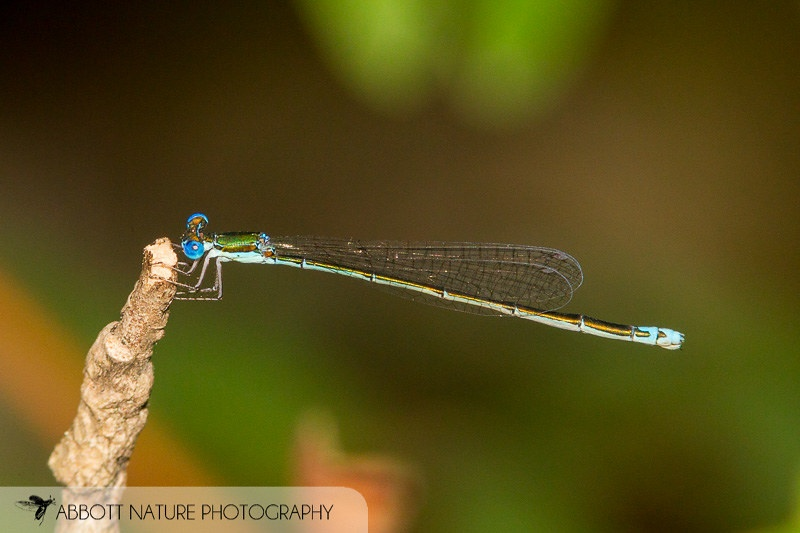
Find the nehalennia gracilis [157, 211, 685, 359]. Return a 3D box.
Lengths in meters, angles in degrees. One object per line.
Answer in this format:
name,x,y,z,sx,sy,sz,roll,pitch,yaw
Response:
nehalennia gracilis,0.060,0.148,6.738,4.732,0.770,0.971,7,-91,1
